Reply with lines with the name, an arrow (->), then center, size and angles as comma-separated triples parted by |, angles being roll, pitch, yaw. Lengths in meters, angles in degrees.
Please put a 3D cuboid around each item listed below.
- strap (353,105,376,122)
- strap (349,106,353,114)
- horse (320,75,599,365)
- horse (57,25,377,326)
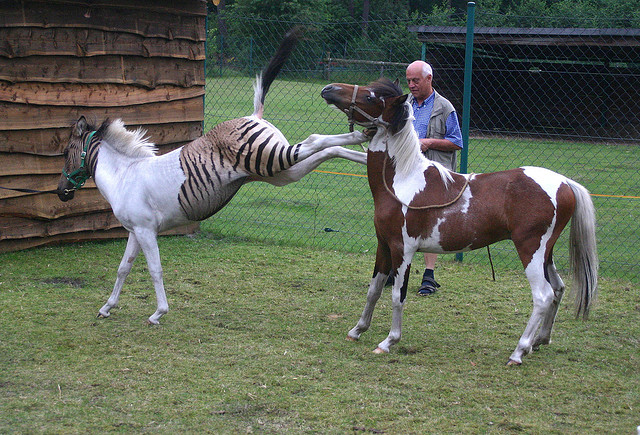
strap -> 0.460, -1.084, 7.728 | 0.283, 0.082, 0.068 | 42, 20, -21
strap -> 0.318, -1.128, 7.693 | 0.042, 0.069, 0.043 | 1, 3, -9
horse -> 1.458, 0.094, 7.904 | 3.122, 2.580, 0.862 | 6, -2, -5
horse -> -1.146, -0.349, 8.245 | 3.969, 2.776, 0.759 | -15, -8, 16
